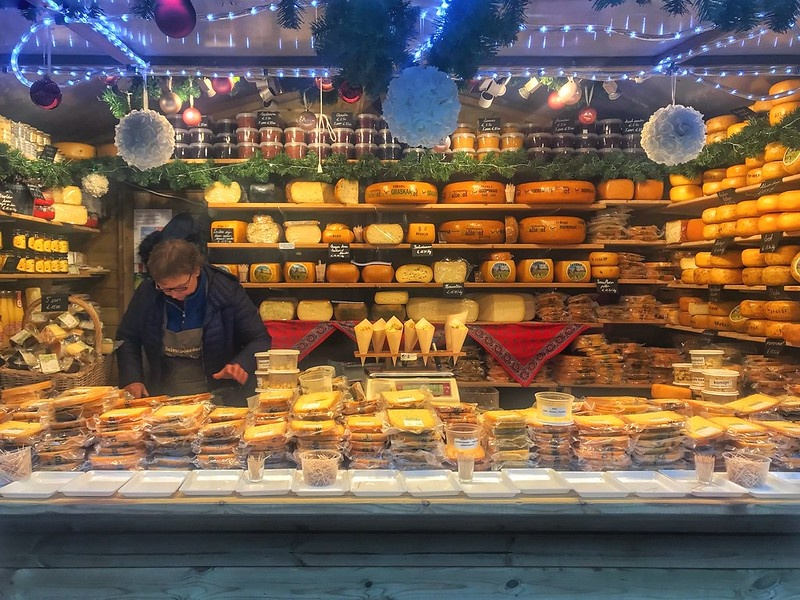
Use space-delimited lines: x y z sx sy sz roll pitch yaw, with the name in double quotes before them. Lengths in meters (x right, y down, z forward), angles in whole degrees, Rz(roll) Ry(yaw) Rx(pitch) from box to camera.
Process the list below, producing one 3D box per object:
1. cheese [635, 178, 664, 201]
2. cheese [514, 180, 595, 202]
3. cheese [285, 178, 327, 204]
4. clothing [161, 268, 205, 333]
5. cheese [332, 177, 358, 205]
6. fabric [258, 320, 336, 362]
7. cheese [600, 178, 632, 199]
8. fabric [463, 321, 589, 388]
"cheese" 2.001 -0.879 5.356 0.222 0.193 0.115 2 -89 12
"cheese" 1.258 -0.842 5.253 0.336 0.300 0.072 -2 -87 -24
"cheese" -0.749 -0.857 5.312 0.314 0.085 0.171 2 -76 -3
"clothing" -1.385 0.031 4.147 0.343 0.223 0.346 -7 -67 -19
"cheese" -0.432 -0.856 5.289 0.195 0.124 0.205 2 -76 -3
"fabric" -0.778 0.285 4.913 0.584 0.055 0.281 1 -101 -7
"cheese" 1.757 -0.880 5.372 0.279 0.108 0.168 1 -76 -2
"fabric" 1.010 0.427 5.400 1.264 0.032 0.495 1 -87 -27
